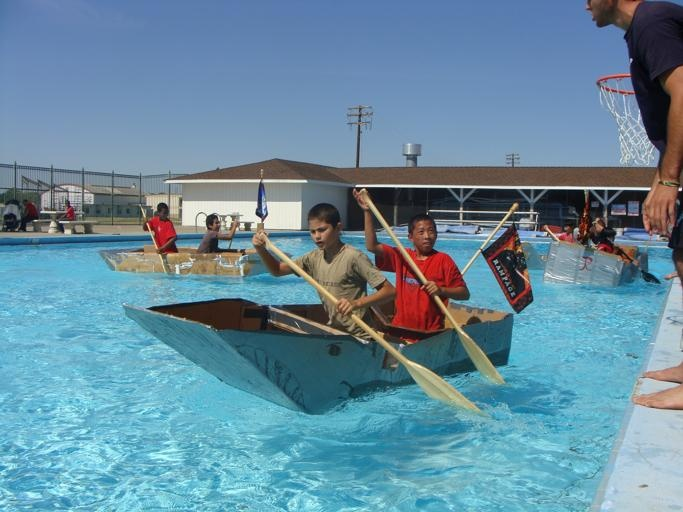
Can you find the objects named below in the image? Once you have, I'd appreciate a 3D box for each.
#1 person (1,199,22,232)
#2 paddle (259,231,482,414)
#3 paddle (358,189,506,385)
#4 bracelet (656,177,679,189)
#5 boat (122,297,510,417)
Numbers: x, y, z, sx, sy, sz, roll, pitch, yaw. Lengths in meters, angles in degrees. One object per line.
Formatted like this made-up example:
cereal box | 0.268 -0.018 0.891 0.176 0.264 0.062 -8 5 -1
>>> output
person | -13.516 -1.725 24.279 0.645 1.332 1.536 -3 9 -28
paddle | 0.265 0.666 5.584 0.258 3.153 0.252 -51 11 23
paddle | 1.015 0.656 5.912 0.405 3.161 0.115 -9 39 35
bracelet | 1.774 -0.403 3.222 0.099 0.040 0.060 4 8 21
boat | -0.011 0.793 5.197 2.722 0.550 1.367 -4 6 -36
